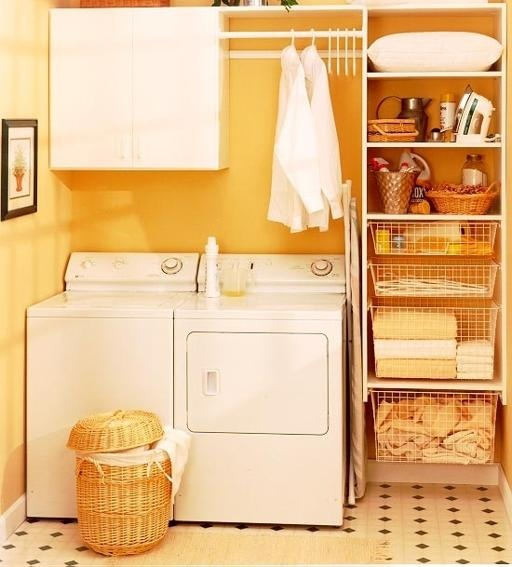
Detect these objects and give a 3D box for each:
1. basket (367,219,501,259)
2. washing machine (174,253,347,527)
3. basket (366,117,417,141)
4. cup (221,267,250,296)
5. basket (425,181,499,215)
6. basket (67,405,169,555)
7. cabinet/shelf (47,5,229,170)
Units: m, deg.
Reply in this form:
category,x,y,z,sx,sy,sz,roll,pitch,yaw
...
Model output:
category,x,y,z,sx,sy,sz,roll,pitch,yaw
basket,0.771,-0.194,2.601,0.520,0.160,0.296,0,2,8
washing machine,0.067,0.416,2.554,0.542,1.012,0.515,1,10,10
basket,0.559,-0.629,2.489,0.117,0.055,0.128,-6,9,-35
cup,-0.085,-0.007,2.653,0.100,0.132,0.111,1,0,8
basket,0.843,-0.343,2.468,0.267,0.133,0.120,0,1,21
basket,-0.479,0.731,2.139,0.358,0.494,0.260,-1,1,-11
cabinet/shelf,-0.501,-0.847,2.555,0.577,0.610,0.242,0,3,4
